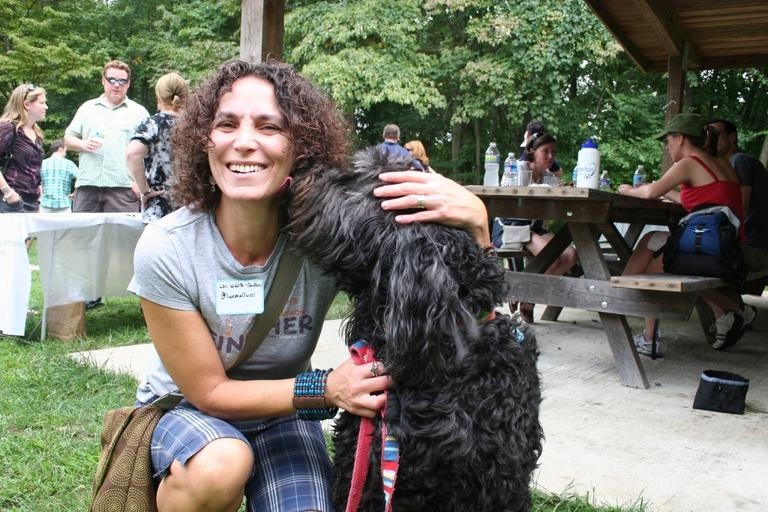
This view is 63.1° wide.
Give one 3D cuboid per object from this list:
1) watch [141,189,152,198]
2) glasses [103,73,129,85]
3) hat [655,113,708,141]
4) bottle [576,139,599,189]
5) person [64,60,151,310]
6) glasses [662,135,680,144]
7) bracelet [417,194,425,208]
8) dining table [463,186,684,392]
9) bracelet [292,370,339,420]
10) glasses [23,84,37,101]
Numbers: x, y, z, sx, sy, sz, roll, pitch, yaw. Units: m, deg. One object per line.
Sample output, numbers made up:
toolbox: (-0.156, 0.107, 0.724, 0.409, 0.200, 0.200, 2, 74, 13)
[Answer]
watch: (-2.065, -0.539, 5.410, 0.073, 0.033, 0.055, -35, -7, 24)
glasses: (-2.732, -1.774, 6.342, 0.183, 0.089, 0.055, -2, 10, -23)
hat: (2.672, -1.149, 5.632, 0.412, 0.205, 0.280, 5, 12, 27)
bottle: (1.724, -0.774, 5.288, 0.191, 0.388, 0.346, 5, 10, 16)
person: (-2.943, -0.754, 6.660, 0.989, 2.570, 0.824, 1, 0, -12)
glasses: (2.633, -1.092, 5.738, 0.134, 0.047, 0.098, -27, -21, 9)
bracelet: (0.134, -0.198, 2.297, 0.036, 0.054, 0.058, 1, -12, 0)
dining table: (1.663, 0.080, 5.337, 1.641, 0.908, 1.948, 6, 6, 36)
bracelet: (-0.236, 0.552, 2.481, 0.143, 0.205, 0.223, 0, 5, 2)
glasses: (-3.803, -1.747, 6.707, 0.086, 0.164, 0.127, 3, 14, -44)
